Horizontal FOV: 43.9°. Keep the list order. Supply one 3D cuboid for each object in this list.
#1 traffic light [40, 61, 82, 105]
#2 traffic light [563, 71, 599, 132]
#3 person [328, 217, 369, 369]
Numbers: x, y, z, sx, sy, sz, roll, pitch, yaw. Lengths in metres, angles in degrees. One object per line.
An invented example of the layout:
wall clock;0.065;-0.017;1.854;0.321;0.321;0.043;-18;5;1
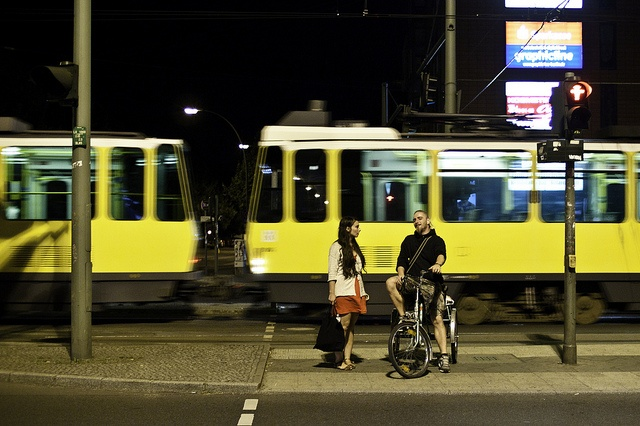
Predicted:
traffic light;-4.767;-2.391;14.573;0.666;0.808;0.292;-2;5;-20
traffic light;4.738;-2.055;14.616;0.482;1.124;0.471;2;5;23
person;0.507;1.440;14.221;0.676;2.755;0.486;0;5;1
